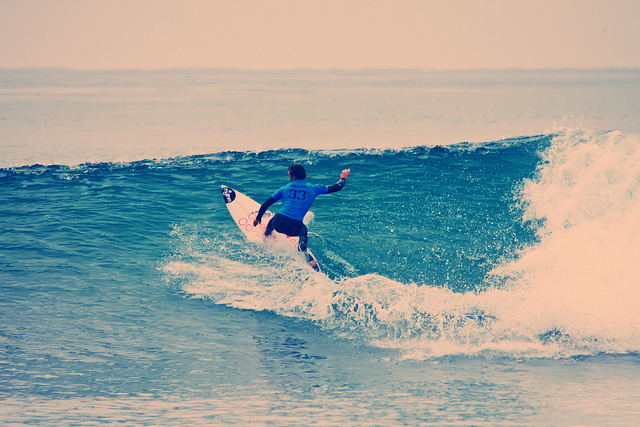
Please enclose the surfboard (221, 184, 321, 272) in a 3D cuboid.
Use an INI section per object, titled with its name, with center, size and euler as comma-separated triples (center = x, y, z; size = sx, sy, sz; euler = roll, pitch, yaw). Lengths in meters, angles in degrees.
[surfboard]
center = -2.247, 0.082, 33.829
size = 1.249, 0.556, 5.680
euler = -49, 44, -8
